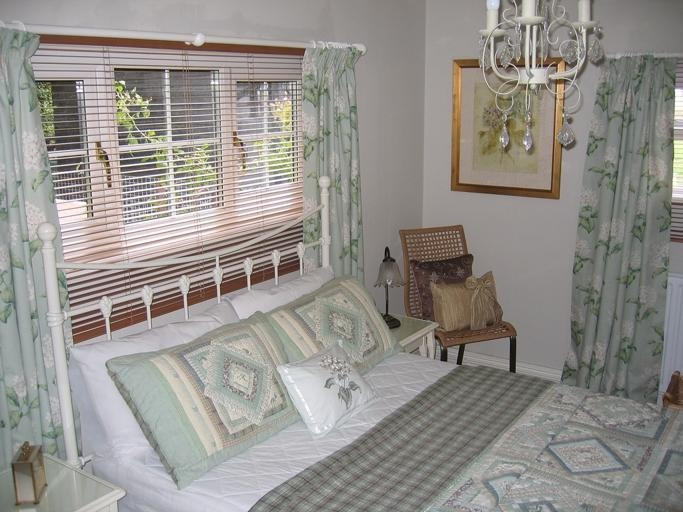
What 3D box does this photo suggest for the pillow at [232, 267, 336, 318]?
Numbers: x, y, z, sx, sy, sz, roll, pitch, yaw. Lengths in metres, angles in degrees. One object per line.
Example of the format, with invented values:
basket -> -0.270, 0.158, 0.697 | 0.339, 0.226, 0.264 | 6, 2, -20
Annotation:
pillow -> -0.340, 0.208, 2.839 | 0.085, 0.202, 0.586 | -9, 9, 38

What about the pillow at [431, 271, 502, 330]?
pillow -> 0.945, 0.360, 3.836 | 0.542, 0.417, 0.279 | -6, 11, -8

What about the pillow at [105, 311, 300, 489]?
pillow -> -0.589, 0.626, 2.230 | 0.709, 0.454, 0.409 | -12, 17, -33

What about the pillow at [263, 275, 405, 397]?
pillow -> 0.003, 0.449, 2.899 | 0.568, 0.234, 0.855 | -22, 21, -5

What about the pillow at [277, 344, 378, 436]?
pillow -> -0.072, 0.617, 2.411 | 0.122, 0.325, 0.412 | -36, -14, 36

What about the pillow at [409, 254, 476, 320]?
pillow -> 0.750, 0.217, 3.947 | 0.499, 0.489, 0.149 | -6, 6, -34
